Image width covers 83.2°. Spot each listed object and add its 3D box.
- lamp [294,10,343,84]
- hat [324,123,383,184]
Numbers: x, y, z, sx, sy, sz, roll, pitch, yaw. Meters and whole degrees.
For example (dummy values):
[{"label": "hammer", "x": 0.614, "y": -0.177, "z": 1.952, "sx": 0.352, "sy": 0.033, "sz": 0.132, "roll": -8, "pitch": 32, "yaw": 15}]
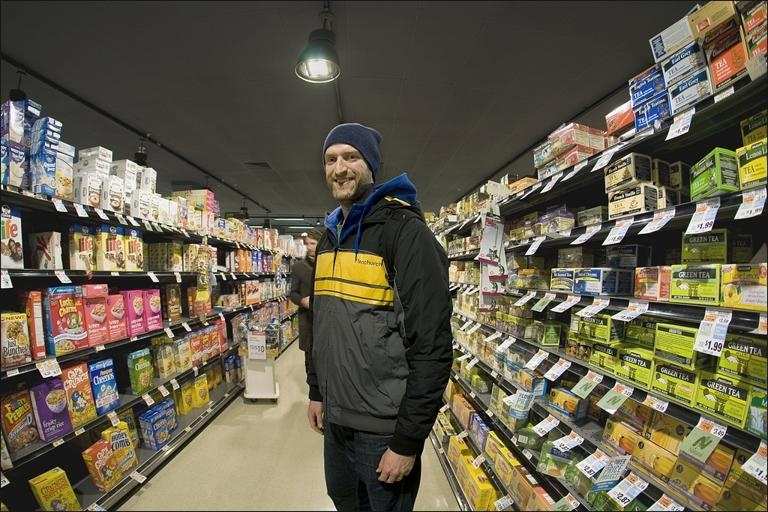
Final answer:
[{"label": "lamp", "x": -0.652, "y": -2.150, "z": 4.416, "sx": 0.450, "sy": 0.618, "sz": 0.417, "roll": 5, "pitch": 7, "yaw": 10}, {"label": "hat", "x": -0.234, "y": -0.785, "z": 3.190, "sx": 0.473, "sy": 0.343, "sz": 0.344, "roll": -4, "pitch": 5, "yaw": -29}]
